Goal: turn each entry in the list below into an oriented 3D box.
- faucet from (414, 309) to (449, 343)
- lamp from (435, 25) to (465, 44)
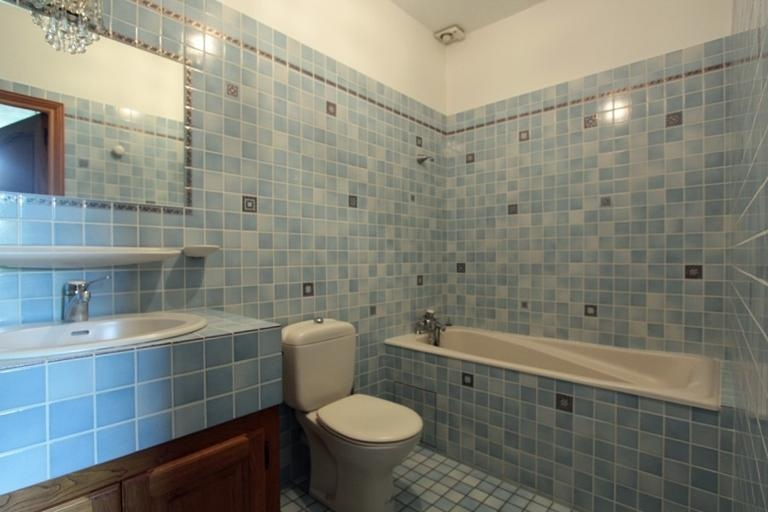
[{"bbox_3d":[0.381,0.569,4.362,0.252,0.246,0.265,5,9,31],"label":"faucet"},{"bbox_3d":[0.543,-1.836,4.469,0.230,0.075,0.195,1,3,39],"label":"lamp"}]
